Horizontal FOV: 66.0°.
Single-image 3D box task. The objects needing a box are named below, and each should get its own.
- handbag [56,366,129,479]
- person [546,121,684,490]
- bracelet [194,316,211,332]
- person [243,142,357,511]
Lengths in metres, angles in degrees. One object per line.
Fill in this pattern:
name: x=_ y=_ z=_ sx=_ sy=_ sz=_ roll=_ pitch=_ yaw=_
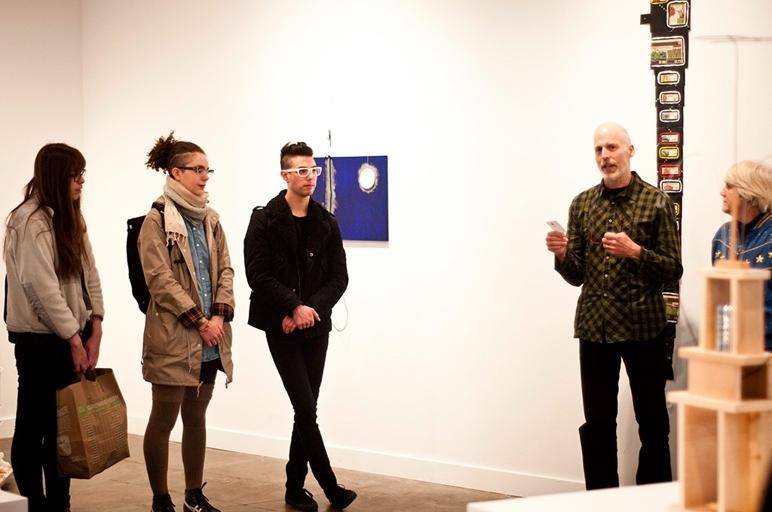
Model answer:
handbag: x=-1.655 y=0.942 z=3.345 sx=0.220 sy=0.573 sz=0.389 roll=3 pitch=9 yaw=37
person: x=1.308 y=0.301 z=3.402 sx=0.671 sy=2.098 sz=0.356 roll=2 pitch=8 yaw=27
bracelet: x=-1.066 y=0.389 z=3.408 sx=0.059 sy=0.070 sz=0.077 roll=6 pitch=32 yaw=-16
person: x=-0.562 y=0.436 z=3.760 sx=0.639 sy=2.279 sz=0.460 roll=-3 pitch=7 yaw=-6
